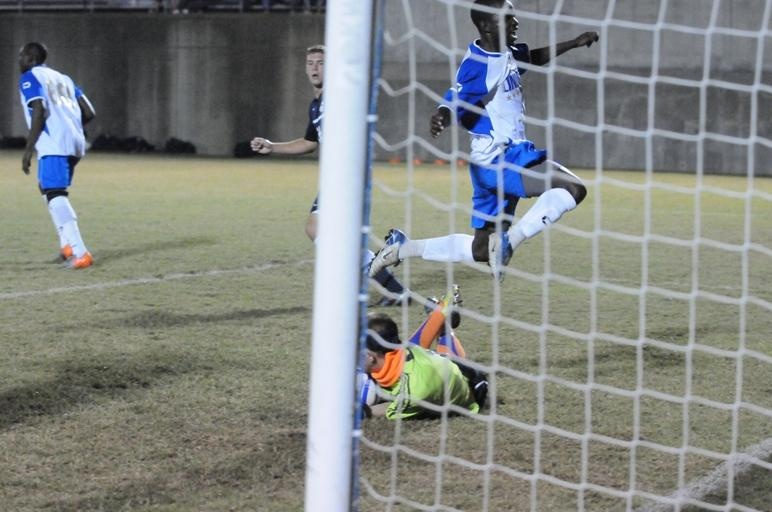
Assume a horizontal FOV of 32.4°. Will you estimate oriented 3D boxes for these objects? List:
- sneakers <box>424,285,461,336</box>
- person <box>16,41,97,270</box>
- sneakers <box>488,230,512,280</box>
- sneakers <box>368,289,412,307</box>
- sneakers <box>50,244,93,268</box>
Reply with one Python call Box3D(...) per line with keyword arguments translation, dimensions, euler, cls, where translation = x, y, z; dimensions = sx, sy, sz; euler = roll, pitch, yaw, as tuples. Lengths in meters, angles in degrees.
Box3D(translation=(0.615, 0.533, 13.405), dimensions=(0.215, 0.620, 0.282), euler=(-13, -32, 29), cls="sneakers")
Box3D(translation=(-3.838, -1.048, 15.593), dimensions=(0.818, 2.297, 0.807), euler=(-1, 11, -12), cls="person")
Box3D(translation=(1.184, -0.021, 13.677), dimensions=(0.200, 0.515, 0.241), euler=(-3, 18, -14), cls="sneakers")
Box3D(translation=(0.124, 0.420, 14.390), dimensions=(0.619, 0.165, 0.245), euler=(-3, 6, 12), cls="sneakers")
Box3D(translation=(-3.730, 0.007, 15.614), dimensions=(0.595, 0.243, 0.209), euler=(2, 25, 26), cls="sneakers")
